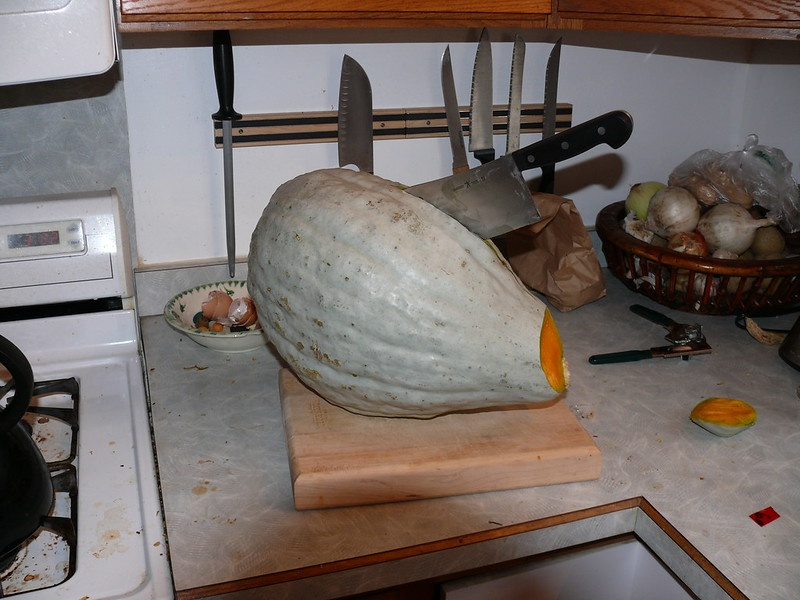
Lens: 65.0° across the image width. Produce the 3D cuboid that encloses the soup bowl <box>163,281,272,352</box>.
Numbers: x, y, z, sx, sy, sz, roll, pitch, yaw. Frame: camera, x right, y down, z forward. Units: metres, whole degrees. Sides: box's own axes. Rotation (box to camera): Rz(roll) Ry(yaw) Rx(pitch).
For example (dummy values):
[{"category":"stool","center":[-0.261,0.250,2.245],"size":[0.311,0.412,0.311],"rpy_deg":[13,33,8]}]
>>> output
[{"category":"soup bowl","center":[-0.341,0.039,1.178],"size":[0.140,0.081,0.136],"rpy_deg":[3,21,-1]}]

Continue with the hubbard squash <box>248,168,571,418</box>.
[{"category":"hubbard squash","center":[0.000,0.006,0.921],"size":[0.445,0.344,0.243],"rpy_deg":[14,31,31]}]
